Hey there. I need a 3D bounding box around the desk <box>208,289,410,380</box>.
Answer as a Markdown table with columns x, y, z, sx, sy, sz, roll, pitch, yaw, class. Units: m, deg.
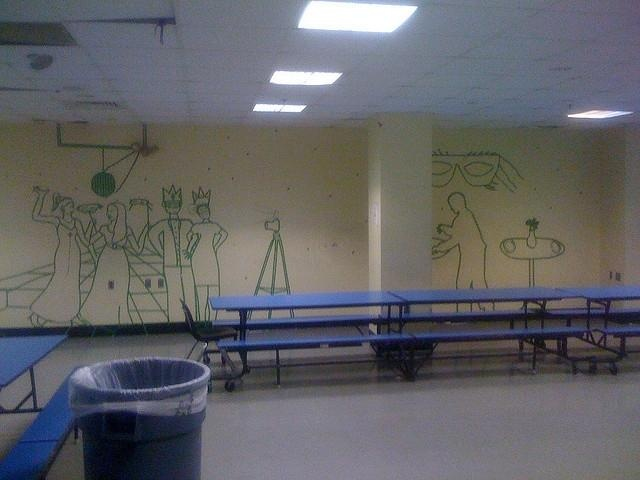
| x | y | z | sx | sy | sz | roll | pitch | yaw | class |
| --- | --- | --- | --- | --- | --- | --- | --- | --- | --- |
| -0.099 | 1.241 | 6.906 | 2.478 | 0.935 | 0.875 | -3 | -2 | -3 | desk |
